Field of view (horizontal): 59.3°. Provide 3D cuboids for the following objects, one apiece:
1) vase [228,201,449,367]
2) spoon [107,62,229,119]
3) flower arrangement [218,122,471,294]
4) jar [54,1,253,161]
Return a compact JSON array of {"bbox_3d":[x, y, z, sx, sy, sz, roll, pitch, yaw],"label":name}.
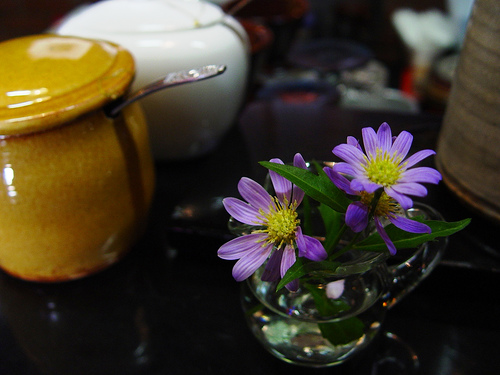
[{"bbox_3d":[0.063,0.076,0.457,0.207,0.151,0.131,-5,49,-11],"label":"vase"},{"bbox_3d":[-0.086,-0.102,0.449,0.137,0.022,0.021,-22,20,21],"label":"spoon"},{"bbox_3d":[0.117,-0.005,0.367,0.154,0.078,0.169,8,19,38],"label":"flower arrangement"},{"bbox_3d":[-0.086,-0.114,0.508,0.164,0.149,0.197,-4,17,-9],"label":"jar"}]
